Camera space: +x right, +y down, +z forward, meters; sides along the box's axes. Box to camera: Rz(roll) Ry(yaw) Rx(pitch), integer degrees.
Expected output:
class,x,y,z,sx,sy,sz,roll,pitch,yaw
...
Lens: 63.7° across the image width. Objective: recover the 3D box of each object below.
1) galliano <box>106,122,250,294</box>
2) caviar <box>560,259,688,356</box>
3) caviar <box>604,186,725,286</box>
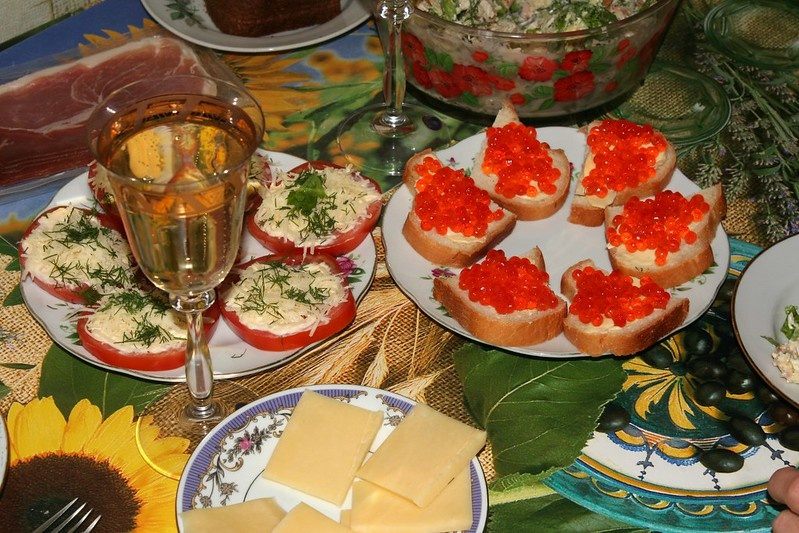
class,x,y,z,sx,sy,sz,roll,pitch,yaw
galliano,-0.576,-0.151,1.797,0.305,0.488,0.312,-11,35,-23
caviar,0.859,0.119,2.427,0.530,0.121,0.467,-6,38,1
caviar,1.056,-0.142,2.546,0.459,0.116,0.385,6,56,10
